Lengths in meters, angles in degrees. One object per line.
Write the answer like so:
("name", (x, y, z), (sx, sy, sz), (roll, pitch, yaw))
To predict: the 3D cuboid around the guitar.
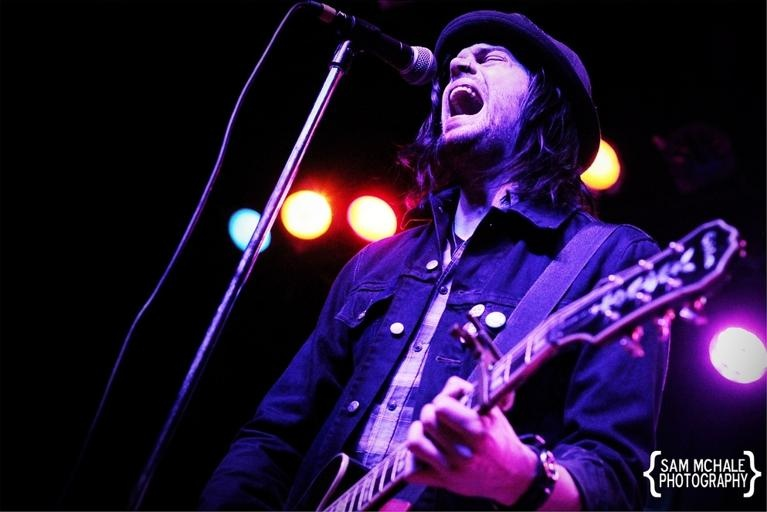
("guitar", (0.583, 0.485, 3.172), (0.247, 0.392, 2.209), (-16, -19, -40))
